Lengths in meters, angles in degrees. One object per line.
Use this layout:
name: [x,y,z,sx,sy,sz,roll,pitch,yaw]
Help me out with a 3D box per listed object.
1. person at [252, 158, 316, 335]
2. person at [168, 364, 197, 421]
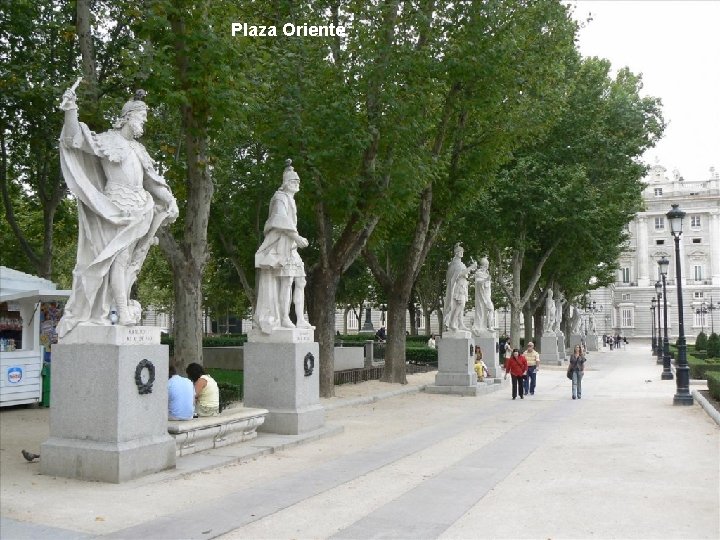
person: [-1.833,-0.571,21.216,1.215,4.069,0.657,0,-5,-5]
person: [-3.663,2.461,18.722,0.832,1.064,0.853,2,10,-15]
